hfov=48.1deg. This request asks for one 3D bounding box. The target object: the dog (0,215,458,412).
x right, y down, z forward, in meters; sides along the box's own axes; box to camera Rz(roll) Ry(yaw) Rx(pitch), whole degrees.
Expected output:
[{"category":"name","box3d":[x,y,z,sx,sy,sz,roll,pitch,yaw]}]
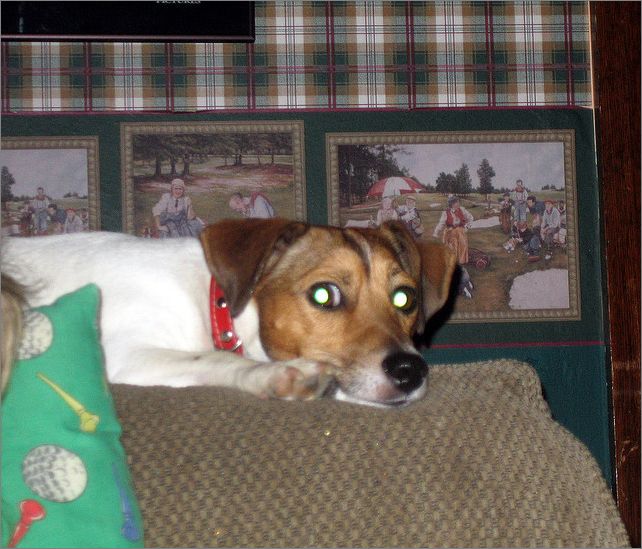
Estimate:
[{"category":"dog","box3d":[-0.268,0.076,2.220,1.017,0.306,0.663,7,7,13]}]
